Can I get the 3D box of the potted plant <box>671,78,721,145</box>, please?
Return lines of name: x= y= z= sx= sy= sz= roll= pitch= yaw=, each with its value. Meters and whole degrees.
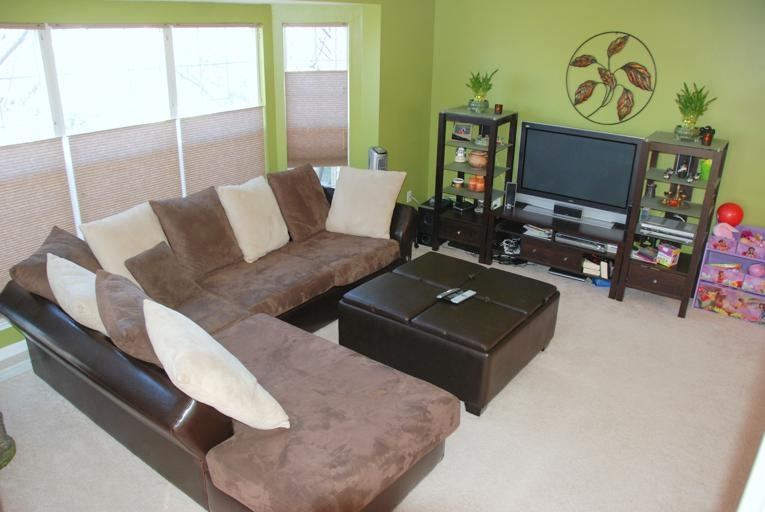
potted plant: x=2.936 y=-1.370 z=5.117 sx=0.355 sy=0.510 sz=0.527 roll=12 pitch=23 yaw=22

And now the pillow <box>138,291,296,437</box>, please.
pillow: x=-1.035 y=0.701 z=3.175 sx=0.955 sy=0.664 sz=0.350 roll=9 pitch=23 yaw=17

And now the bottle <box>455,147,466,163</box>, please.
bottle: x=0.894 y=-1.173 z=6.296 sx=0.145 sy=0.150 sz=0.146 roll=8 pitch=22 yaw=20

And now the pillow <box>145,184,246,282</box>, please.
pillow: x=-1.591 y=-0.194 z=4.667 sx=0.226 sy=0.698 sz=0.761 roll=-19 pitch=8 yaw=34

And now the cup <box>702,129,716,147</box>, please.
cup: x=3.004 y=-1.098 z=4.976 sx=0.181 sy=0.150 sz=0.075 roll=-13 pitch=26 yaw=-34

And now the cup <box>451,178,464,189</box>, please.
cup: x=0.862 y=-0.843 z=6.308 sx=0.123 sy=0.072 sz=0.118 roll=1 pitch=31 yaw=-1

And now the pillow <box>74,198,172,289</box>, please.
pillow: x=-2.045 y=-0.148 z=4.255 sx=0.187 sy=0.604 sz=0.682 roll=-27 pitch=3 yaw=32
